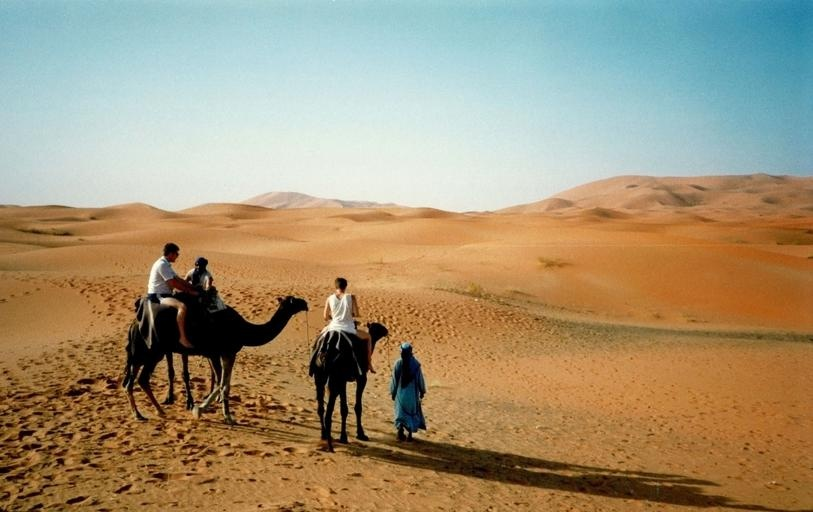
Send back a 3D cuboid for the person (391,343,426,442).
[{"bbox_3d":[0.070,3.751,16.603,1.015,2.612,1.035,4,16,-4],"label":"person"}]
